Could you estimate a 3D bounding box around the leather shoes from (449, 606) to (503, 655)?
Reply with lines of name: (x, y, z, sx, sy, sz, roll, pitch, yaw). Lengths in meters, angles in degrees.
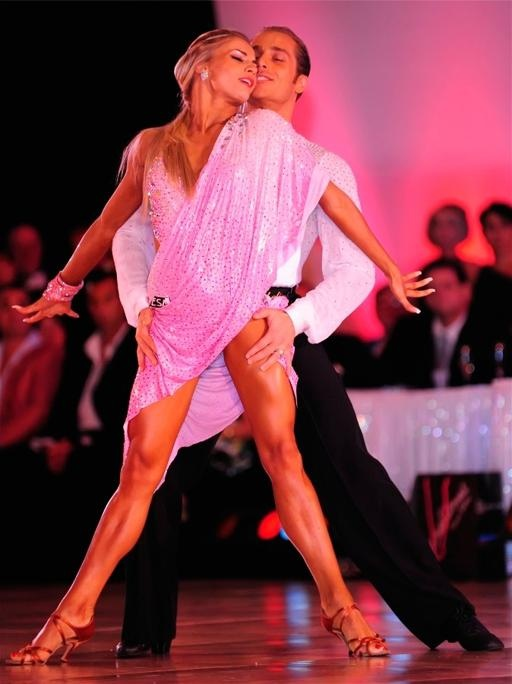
leather shoes: (0.435, 0.597, 1.651, 0.050, 0.049, 0.137, -12, 4, -23)

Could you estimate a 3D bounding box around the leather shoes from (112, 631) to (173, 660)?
leather shoes: (-0.226, 0.629, 1.634, 0.122, 0.046, 0.041, 12, -21, -22)

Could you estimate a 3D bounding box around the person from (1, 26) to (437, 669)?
person: (-0.110, 0.025, 1.604, 0.858, 1.335, 0.531, 6, 5, 10)

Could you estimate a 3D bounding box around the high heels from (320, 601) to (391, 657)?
high heels: (0.191, 0.560, 1.523, 0.059, 0.062, 0.160, -42, 37, -14)
